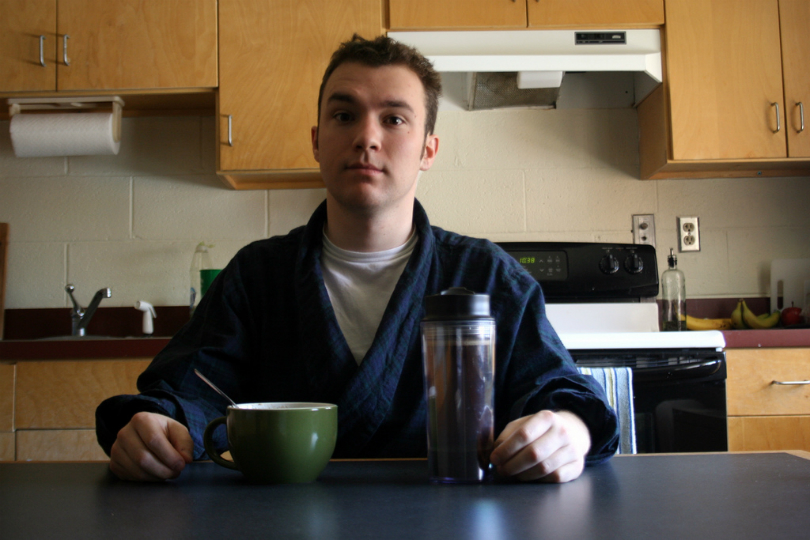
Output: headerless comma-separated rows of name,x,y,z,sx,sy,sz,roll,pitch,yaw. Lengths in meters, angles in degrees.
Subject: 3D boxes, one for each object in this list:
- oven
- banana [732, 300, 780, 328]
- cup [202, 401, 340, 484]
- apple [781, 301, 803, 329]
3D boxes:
oven,0.888,0.460,2.336,0.315,0.301,0.214,-2,-4,-2
banana,1.394,0.180,2.737,0.231,0.147,0.080,3,-19,-29
cup,-0.235,0.289,1.169,0.181,0.093,0.138,-3,-6,10
apple,1.493,0.176,2.667,0.078,0.093,0.078,7,1,-23
